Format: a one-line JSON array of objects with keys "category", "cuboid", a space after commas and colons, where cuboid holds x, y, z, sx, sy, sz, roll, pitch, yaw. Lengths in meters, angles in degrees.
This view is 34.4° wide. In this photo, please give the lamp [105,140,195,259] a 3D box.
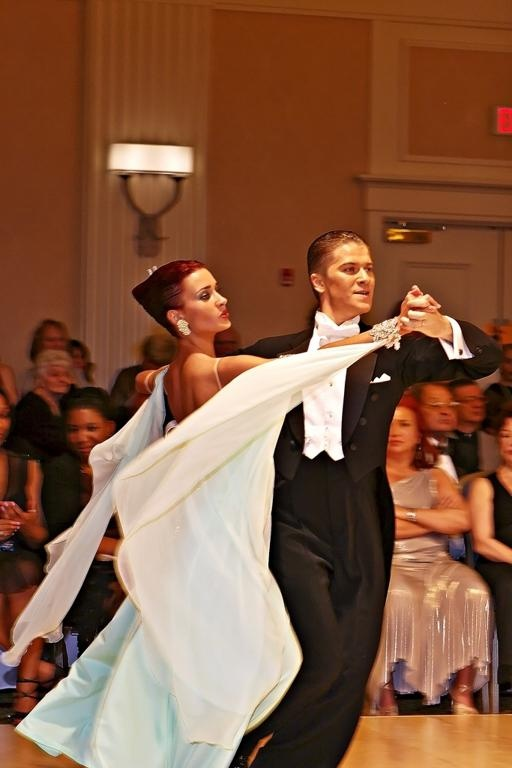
[{"category": "lamp", "cuboid": [-0.693, -1.241, 5.515, 0.540, 0.794, 0.347, 0, -3, 24]}]
